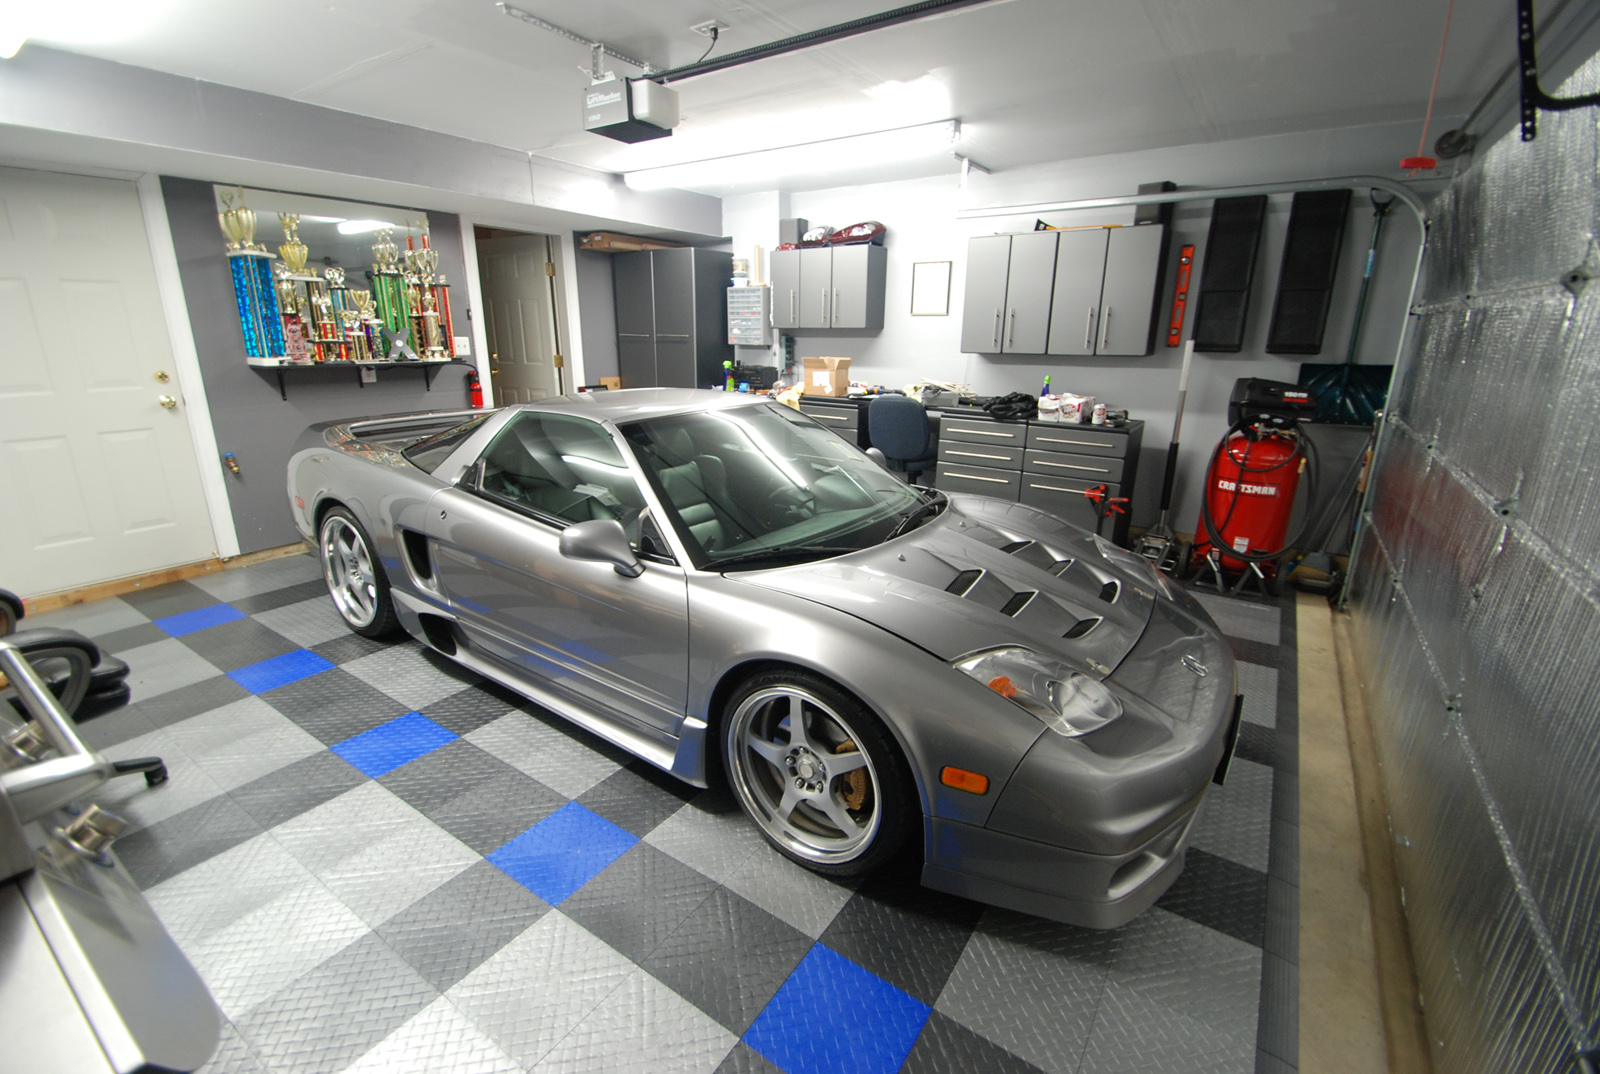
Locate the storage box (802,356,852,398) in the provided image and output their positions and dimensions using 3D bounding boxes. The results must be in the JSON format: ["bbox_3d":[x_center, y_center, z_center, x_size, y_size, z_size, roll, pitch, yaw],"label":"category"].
[{"bbox_3d":[0.241,-1.563,6.584,0.446,0.328,0.374,7,27,12],"label":"storage box"}]

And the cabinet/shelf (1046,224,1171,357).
[{"bbox_3d":[2.305,-1.877,5.416,0.748,0.906,0.202,3,19,16],"label":"cabinet/shelf"}]

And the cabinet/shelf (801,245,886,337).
[{"bbox_3d":[0.401,-2.379,6.775,0.834,0.751,0.350,13,21,38],"label":"cabinet/shelf"}]

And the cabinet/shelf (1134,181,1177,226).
[{"bbox_3d":[2.639,-2.474,5.265,0.277,0.326,0.302,6,20,24],"label":"cabinet/shelf"}]

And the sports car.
[{"bbox_3d":[-0.473,-0.036,3.770,4.781,1.295,2.288,14,21,31],"label":"sports car"}]

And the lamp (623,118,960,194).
[{"bbox_3d":[-0.126,-2.806,5.272,2.648,0.198,0.475,7,20,27],"label":"lamp"}]

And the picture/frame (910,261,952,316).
[{"bbox_3d":[1.201,-2.271,6.437,0.481,0.560,0.043,8,16,31],"label":"picture/frame"}]

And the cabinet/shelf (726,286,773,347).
[{"bbox_3d":[-0.492,-2.215,7.072,0.531,0.705,0.346,4,12,26],"label":"cabinet/shelf"}]
